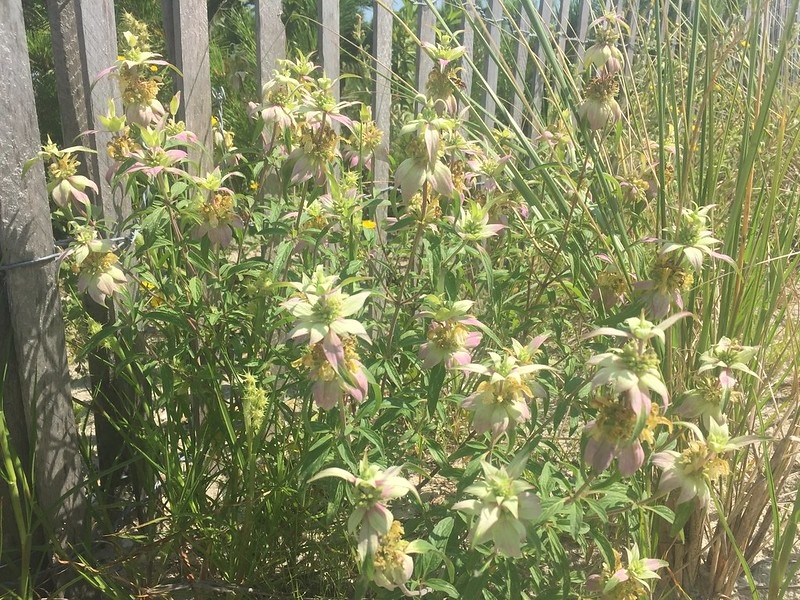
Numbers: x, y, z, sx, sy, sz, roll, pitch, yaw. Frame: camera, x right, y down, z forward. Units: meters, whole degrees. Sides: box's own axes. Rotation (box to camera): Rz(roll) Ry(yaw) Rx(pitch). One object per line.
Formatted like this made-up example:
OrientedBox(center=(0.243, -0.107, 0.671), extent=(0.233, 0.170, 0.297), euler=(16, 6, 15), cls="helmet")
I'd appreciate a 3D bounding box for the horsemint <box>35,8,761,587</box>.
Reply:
OrientedBox(center=(-0.021, 0.039, 2.452), extent=(1.798, 2.291, 1.455), euler=(0, 13, 9), cls="horsemint")
